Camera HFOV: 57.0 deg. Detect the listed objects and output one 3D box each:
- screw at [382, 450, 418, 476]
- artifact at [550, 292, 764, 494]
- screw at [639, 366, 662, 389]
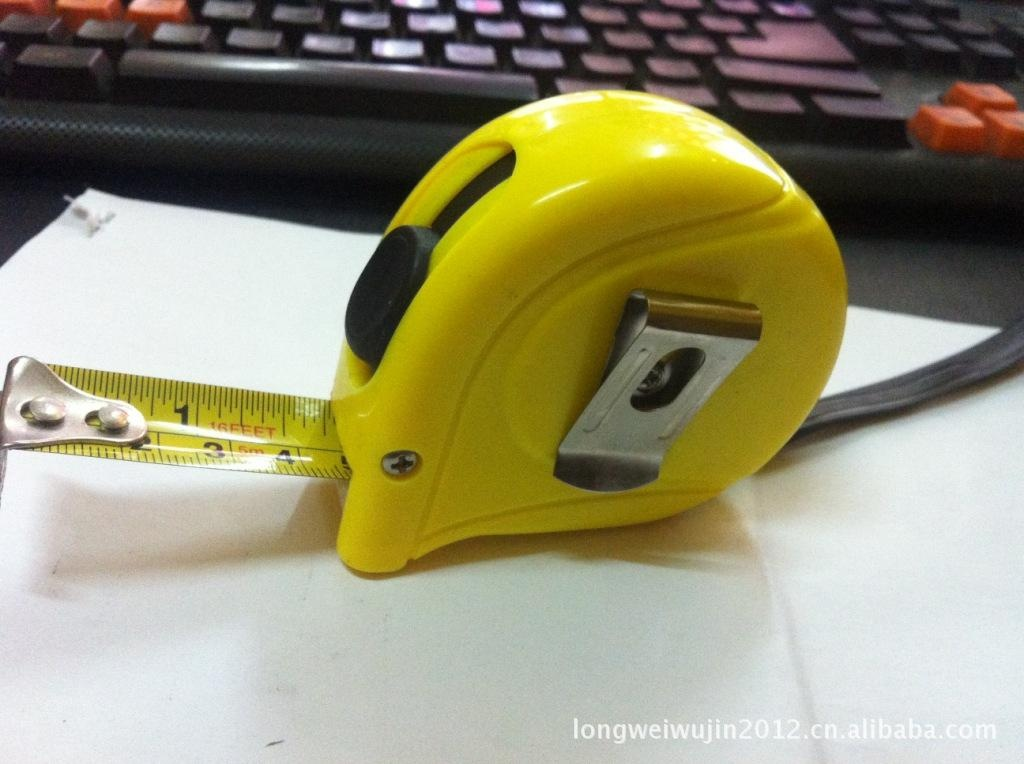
[{"bbox_3d":[-0.089,0.066,0.737,0.024,0.019,0.007,-1,14,-4],"label":"screw"},{"bbox_3d":[0.108,0.002,0.745,0.108,0.211,0.069,11,44,-22],"label":"artifact"},{"bbox_3d":[0.109,-0.005,0.765,0.019,0.019,0.005,-48,39,8],"label":"screw"}]
